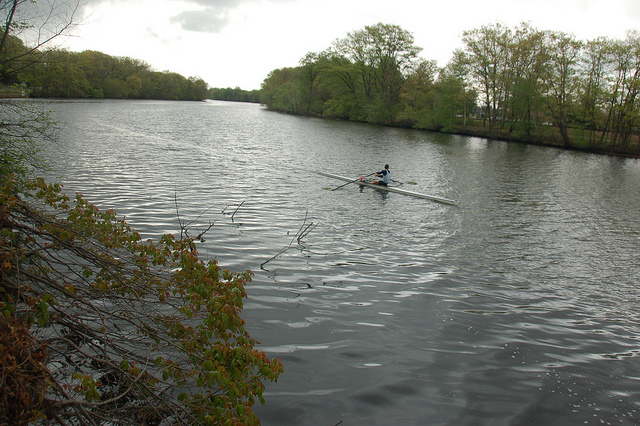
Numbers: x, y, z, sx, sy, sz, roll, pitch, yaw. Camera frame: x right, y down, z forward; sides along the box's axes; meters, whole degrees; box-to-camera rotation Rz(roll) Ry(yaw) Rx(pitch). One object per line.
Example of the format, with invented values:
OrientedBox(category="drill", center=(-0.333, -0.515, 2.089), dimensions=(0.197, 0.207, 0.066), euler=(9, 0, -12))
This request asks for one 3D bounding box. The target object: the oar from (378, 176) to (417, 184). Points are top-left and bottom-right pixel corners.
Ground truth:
OrientedBox(category="oar", center=(4.961, -2.138, 36.605), dimensions=(3.029, 0.090, 0.324), euler=(9, 5, 10))

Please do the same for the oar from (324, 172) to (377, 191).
OrientedBox(category="oar", center=(1.842, -1.965, 35.486), dimensions=(3.646, 0.745, 0.363), euler=(-23, 19, -40))

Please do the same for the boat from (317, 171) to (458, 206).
OrientedBox(category="boat", center=(3.904, -1.463, 34.300), dimensions=(10.428, 0.996, 0.852), euler=(10, -6, 33))
